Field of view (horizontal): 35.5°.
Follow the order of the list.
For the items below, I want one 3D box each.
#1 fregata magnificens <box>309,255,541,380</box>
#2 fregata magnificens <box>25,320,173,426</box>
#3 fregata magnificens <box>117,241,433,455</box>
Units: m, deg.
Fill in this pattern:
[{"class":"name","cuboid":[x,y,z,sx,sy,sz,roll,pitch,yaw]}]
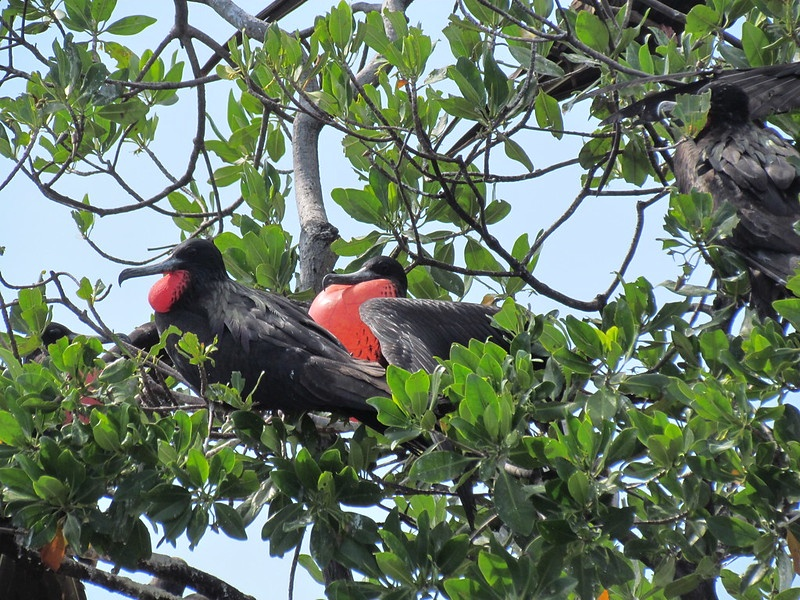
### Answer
[{"class":"fregata magnificens","cuboid":[-0.015,0.072,6.918,0.674,0.964,0.391,-6,-110,8]},{"class":"fregata magnificens","cuboid":[-1.434,0.369,5.887,0.763,0.288,0.484,-20,-100,15]},{"class":"fregata magnificens","cuboid":[-0.640,0.255,6.609,1.644,0.597,0.926,9,-82,-1]}]
